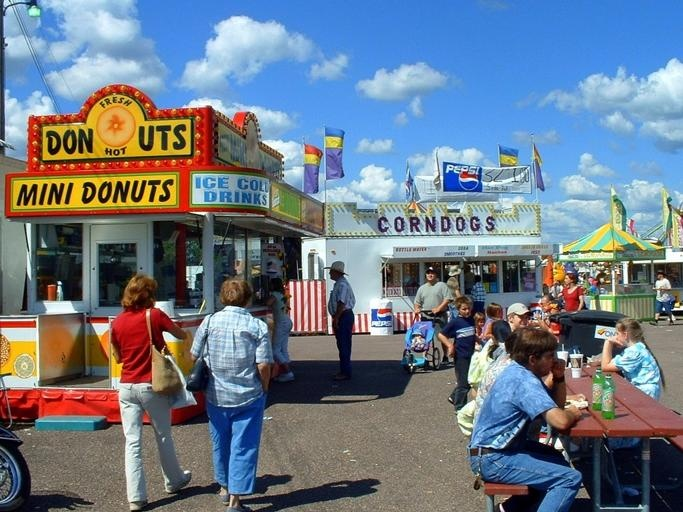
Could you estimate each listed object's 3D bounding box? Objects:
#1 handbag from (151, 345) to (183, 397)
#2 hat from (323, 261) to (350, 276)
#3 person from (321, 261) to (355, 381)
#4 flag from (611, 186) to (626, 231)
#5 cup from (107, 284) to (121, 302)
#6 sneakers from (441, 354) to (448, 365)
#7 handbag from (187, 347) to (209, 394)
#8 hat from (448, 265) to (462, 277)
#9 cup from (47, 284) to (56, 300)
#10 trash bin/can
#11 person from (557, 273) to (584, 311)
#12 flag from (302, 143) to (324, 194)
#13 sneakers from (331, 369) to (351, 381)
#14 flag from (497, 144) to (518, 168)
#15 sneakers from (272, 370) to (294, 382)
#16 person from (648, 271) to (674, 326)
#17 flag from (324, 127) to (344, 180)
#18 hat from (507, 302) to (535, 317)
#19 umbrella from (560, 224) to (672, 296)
[{"bbox_3d":[-1.814,1.193,7.485,0.249,0.602,0.465,-15,-19,11],"label":"handbag"},{"bbox_3d":[-0.108,0.280,17.916,0.497,0.202,0.431,19,-5,-27],"label":"hat"},{"bbox_3d":[-0.005,1.145,13.104,0.456,2.091,1.152,-1,-3,1],"label":"person"},{"bbox_3d":[10.868,-1.703,28.478,0.404,1.391,1.201,-2,-3,28],"label":"flag"},{"bbox_3d":[-3.407,0.537,10.871,0.231,0.344,0.166,1,-5,-4],"label":"cup"},{"bbox_3d":[2.116,2.129,14.897,0.121,0.146,0.373,-2,-7,11],"label":"sneakers"},{"bbox_3d":[-1.419,1.158,7.135,0.208,0.349,0.197,1,-3,-27],"label":"handbag"},{"bbox_3d":[3.341,0.434,21.590,0.321,0.147,0.358,-33,1,-14],"label":"hat"},{"bbox_3d":[-4.352,0.548,10.917,0.135,0.231,0.065,0,-3,-18],"label":"cup"},{"bbox_3d":[3.667,1.188,10.771,0.954,0.776,0.796,1,-3,11],"label":"trash bin/can"},{"bbox_3d":[4.672,0.698,14.658,0.408,0.766,1.280,-2,-3,18],"label":"person"},{"bbox_3d":[-0.950,-2.869,23.980,0.550,1.587,0.488,-1,-3,-2],"label":"flag"},{"bbox_3d":[0.022,2.107,12.959,0.384,0.284,0.136,3,-4,-7],"label":"sneakers"},{"bbox_3d":[6.676,-3.963,28.929,0.691,0.862,1.426,-1,-3,11],"label":"flag"},{"bbox_3d":[-1.027,2.135,12.890,0.389,0.183,0.139,1,0,-3],"label":"sneakers"},{"bbox_3d":[10.373,1.342,23.385,0.595,1.670,1.448,-2,-3,24],"label":"person"},{"bbox_3d":[-0.247,-3.411,24.006,0.602,1.686,0.755,-1,-3,0],"label":"flag"},{"bbox_3d":[2.291,0.713,9.645,0.399,0.225,0.296,-7,-9,42],"label":"hat"},{"bbox_3d":[9.020,0.288,23.776,2.112,1.813,2.097,-4,-7,39],"label":"umbrella"}]
